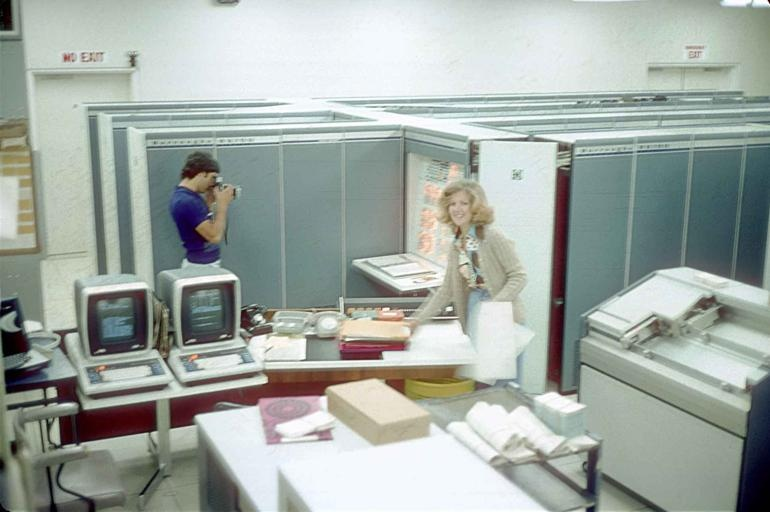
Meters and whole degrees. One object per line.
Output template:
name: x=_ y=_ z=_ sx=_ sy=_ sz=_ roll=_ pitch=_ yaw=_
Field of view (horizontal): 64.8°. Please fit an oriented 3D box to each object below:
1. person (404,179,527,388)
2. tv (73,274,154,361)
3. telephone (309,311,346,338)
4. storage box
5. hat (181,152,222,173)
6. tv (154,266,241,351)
person: x=0.534 y=0.015 z=3.920 sx=0.773 sy=0.985 sz=0.400 roll=-5 pitch=15 yaw=-6
tv: x=-1.434 y=0.305 z=3.345 sx=0.437 sy=0.415 sz=0.449 roll=-4 pitch=7 yaw=-30
telephone: x=-0.357 y=0.417 z=3.734 sx=0.189 sy=0.104 sz=0.130 roll=-3 pitch=19 yaw=-37
storage box: x=-0.045 y=0.663 z=2.629 sx=0.257 sy=0.142 sz=0.449 roll=-13 pitch=17 yaw=-36
hat: x=-1.327 y=-0.671 z=4.390 sx=0.225 sy=0.177 sz=0.163 roll=-16 pitch=26 yaw=-14
tv: x=-1.075 y=0.274 z=3.561 sx=0.446 sy=0.404 sz=0.469 roll=-4 pitch=9 yaw=-24
